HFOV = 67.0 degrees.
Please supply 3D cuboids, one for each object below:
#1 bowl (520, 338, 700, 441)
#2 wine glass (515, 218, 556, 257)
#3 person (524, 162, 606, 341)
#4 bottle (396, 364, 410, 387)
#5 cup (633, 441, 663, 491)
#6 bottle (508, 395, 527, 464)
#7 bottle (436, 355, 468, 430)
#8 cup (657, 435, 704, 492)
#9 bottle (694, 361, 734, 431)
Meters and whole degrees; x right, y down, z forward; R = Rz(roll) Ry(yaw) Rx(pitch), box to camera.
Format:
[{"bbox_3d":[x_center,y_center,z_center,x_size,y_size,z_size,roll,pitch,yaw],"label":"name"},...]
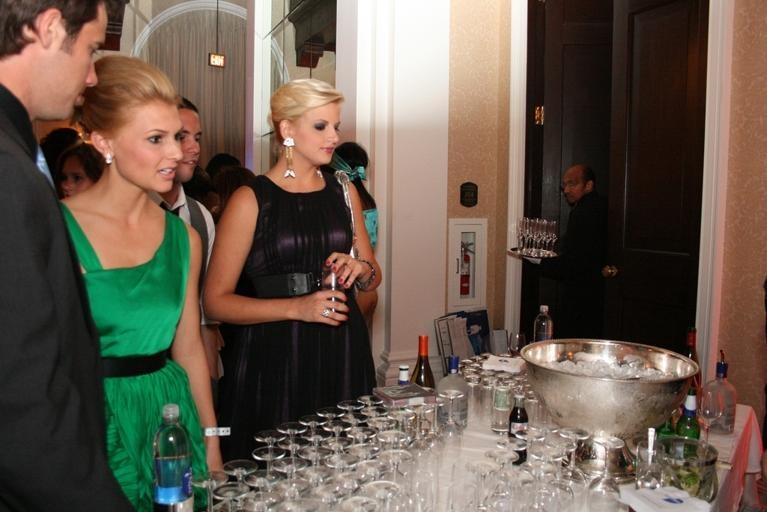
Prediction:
[{"bbox_3d":[0.824,0.479,2.094,0.569,0.228,0.616,-1,5,0],"label":"bowl"},{"bbox_3d":[1.096,-0.128,4.165,0.303,0.365,0.335,2,10,20],"label":"wine glass"},{"bbox_3d":[1.677,-0.002,5.149,0.561,1.620,0.791,-1,5,14],"label":"person"},{"bbox_3d":[0.080,0.466,2.278,0.037,0.090,0.086,-3,5,-2],"label":"bottle"},{"bbox_3d":[0.847,0.671,1.846,0.103,0.139,0.100,-1,2,0],"label":"cup"},{"bbox_3d":[0.503,0.623,2.156,0.085,0.253,0.089,-2,17,1],"label":"bottle"},{"bbox_3d":[0.277,0.541,2.303,0.164,0.283,0.171,-1,8,0],"label":"bottle"},{"bbox_3d":[0.983,0.681,1.928,0.142,0.165,0.146,-2,0,0],"label":"cup"},{"bbox_3d":[1.444,0.605,2.486,0.124,0.310,0.128,-5,14,1],"label":"bottle"}]
